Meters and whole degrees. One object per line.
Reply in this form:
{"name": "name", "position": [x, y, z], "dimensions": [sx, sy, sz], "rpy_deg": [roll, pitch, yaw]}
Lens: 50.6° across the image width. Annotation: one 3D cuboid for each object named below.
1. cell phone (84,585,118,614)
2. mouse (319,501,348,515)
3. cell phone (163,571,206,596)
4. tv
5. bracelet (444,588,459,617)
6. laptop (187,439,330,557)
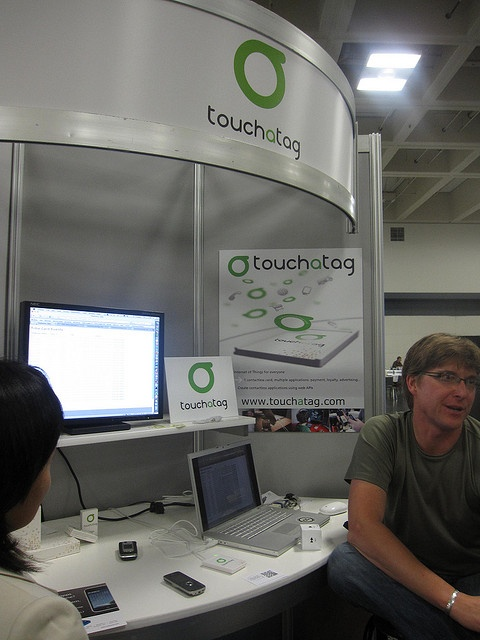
{"name": "cell phone", "position": [-0.305, 0.611, 1.108], "dimensions": [0.054, 0.009, 0.091], "rpy_deg": [7, 7, -31]}
{"name": "mouse", "position": [0.338, 0.670, 1.818], "dimensions": [0.074, 0.023, 0.045], "rpy_deg": [8, -9, -37]}
{"name": "cell phone", "position": [-0.133, 0.606, 1.185], "dimensions": [0.038, 0.018, 0.079], "rpy_deg": [9, -3, -43]}
{"name": "tv", "position": [-0.468, 0.163, 1.631], "dimensions": [0.105, 0.420, 0.529], "rpy_deg": [-11, -12, 40]}
{"name": "bracelet", "position": [0.535, 0.708, 1.272], "dimensions": [0.050, 0.047, 0.020], "rpy_deg": [5, -9, -44]}
{"name": "laptop", "position": [0.070, 0.541, 1.625], "dimensions": [0.339, 0.251, 0.385], "rpy_deg": [-6, -7, 24]}
